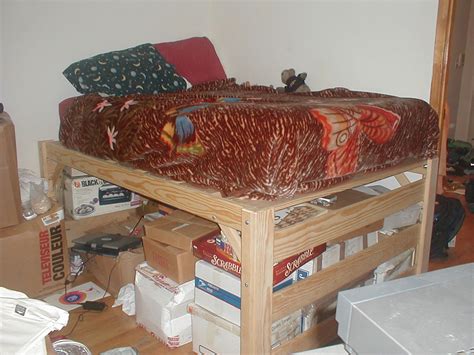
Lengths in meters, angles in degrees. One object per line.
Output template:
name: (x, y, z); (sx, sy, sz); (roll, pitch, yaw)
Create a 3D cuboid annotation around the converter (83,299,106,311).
converter: (-0.797, 0.703, 2.082); (0.104, 0.017, 0.049); (1, 13, -6)

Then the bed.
bed: (-0.077, -0.017, 2.169); (1.455, 0.880, 1.665); (-20, 33, -39)

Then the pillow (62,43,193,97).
pillow: (-0.906, -0.775, 2.982); (0.761, 0.272, 1.121); (-6, 5, -14)
